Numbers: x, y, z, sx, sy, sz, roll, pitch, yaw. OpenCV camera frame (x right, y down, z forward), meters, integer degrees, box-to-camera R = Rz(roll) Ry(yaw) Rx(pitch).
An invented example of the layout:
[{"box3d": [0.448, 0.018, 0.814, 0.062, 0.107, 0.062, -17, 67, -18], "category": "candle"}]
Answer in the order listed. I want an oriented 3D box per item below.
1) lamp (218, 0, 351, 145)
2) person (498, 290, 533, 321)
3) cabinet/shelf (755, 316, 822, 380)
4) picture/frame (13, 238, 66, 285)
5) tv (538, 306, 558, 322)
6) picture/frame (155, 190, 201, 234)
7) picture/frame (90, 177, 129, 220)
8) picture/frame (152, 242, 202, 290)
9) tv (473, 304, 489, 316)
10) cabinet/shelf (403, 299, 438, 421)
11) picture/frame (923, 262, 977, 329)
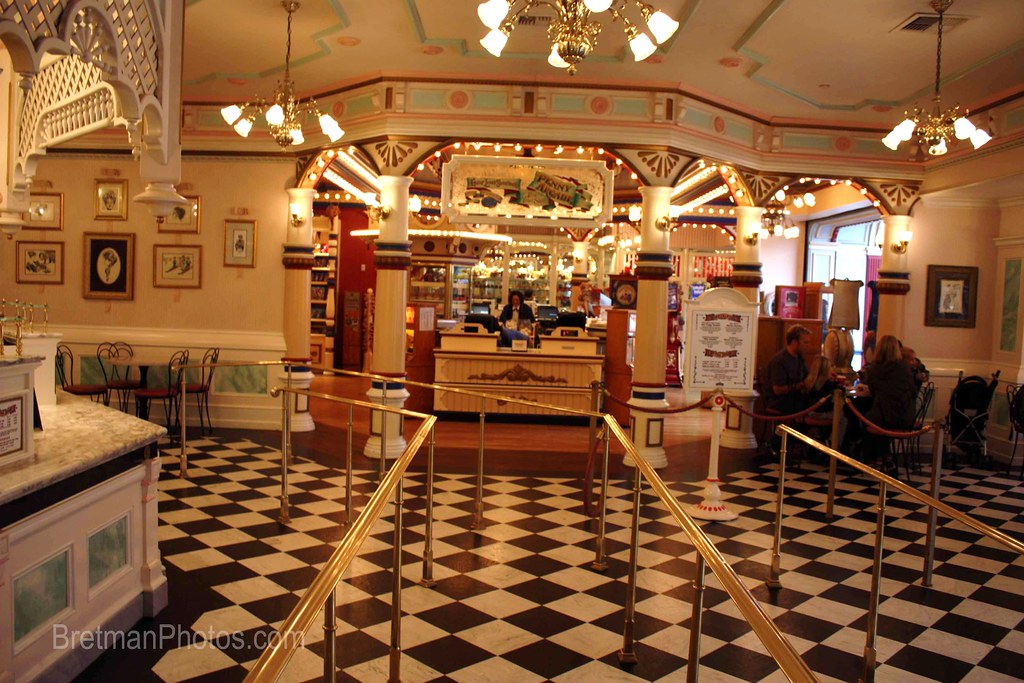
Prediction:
[{"box3d": [-2.699, -2.898, 8.797, 1.801, 1.835, 1.605, 0, 14, -17], "category": "lamp"}, {"box3d": [0.079, -0.626, 13.986, 0.688, 0.834, 0.589, 0, -3, -4], "category": "person"}, {"box3d": [3.924, 0.136, 10.586, 0.953, 0.814, 0.591, 4, 4, -5], "category": "cabinet/shelf"}, {"box3d": [-6.915, -1.188, 10.881, 0.759, 0.677, 0.050, 1, 3, -5], "category": "picture/frame"}, {"box3d": [0.812, -0.629, 16.871, 0.631, 0.314, 0.396, 4, -16, 0], "category": "tv"}, {"box3d": [-4.869, -1.838, 10.755, 0.608, 0.569, 0.264, 0, 5, -15], "category": "picture/frame"}, {"box3d": [-5.851, -2.092, 10.800, 0.686, 0.782, 0.088, 1, 5, 1], "category": "picture/frame"}, {"box3d": [-4.873, -1.088, 10.831, 0.678, 0.644, 0.063, 1, 5, 4], "category": "picture/frame"}, {"box3d": [-0.699, -0.693, 16.395, 0.518, 0.259, 0.329, 1, 0, 12], "category": "tv"}, {"box3d": [-1.504, 0.251, 12.260, 0.491, 1.730, 0.819, 0, 5, -6], "category": "cabinet/shelf"}, {"box3d": [6.379, -0.631, 10.759, 0.752, 0.894, 0.165, 0, 5, -10], "category": "picture/frame"}]
